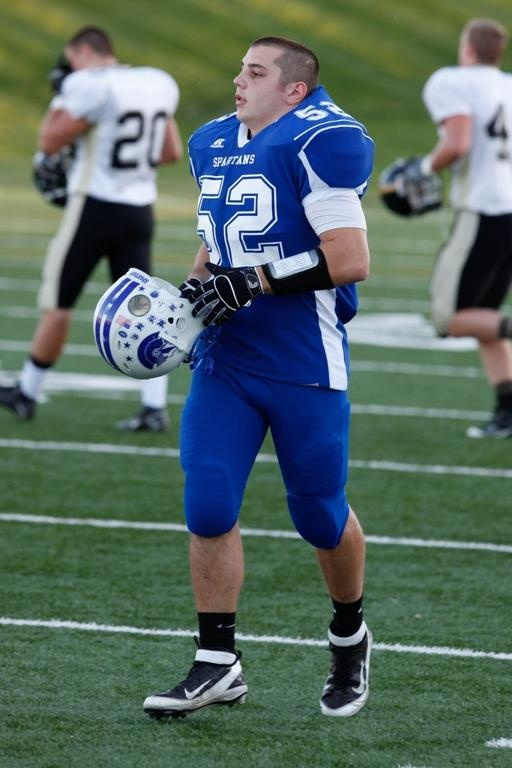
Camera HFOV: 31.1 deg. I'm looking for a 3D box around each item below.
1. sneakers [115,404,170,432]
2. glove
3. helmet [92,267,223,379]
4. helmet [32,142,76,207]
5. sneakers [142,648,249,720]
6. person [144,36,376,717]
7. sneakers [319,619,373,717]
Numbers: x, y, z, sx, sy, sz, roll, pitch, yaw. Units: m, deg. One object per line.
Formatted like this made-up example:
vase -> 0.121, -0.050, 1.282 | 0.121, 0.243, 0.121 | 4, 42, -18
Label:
sneakers -> -0.620, 0.187, 5.022 | 0.227, 0.100, 0.153 | -2, 15, -14
glove -> -0.062, -0.202, 2.125 | 0.182, 0.092, 0.119 | -14, 48, 34
helmet -> -0.261, -0.146, 2.257 | 0.319, 0.201, 0.235 | -12, 0, -9
helmet -> -0.984, -1.002, 4.422 | 0.218, 0.304, 0.136 | 2, 27, 0
sneakers -> -0.125, 0.694, 2.130 | 0.298, 0.133, 0.097 | 1, -8, -35
person -> 0.058, 0.094, 2.203 | 0.545, 1.717, 0.945 | 3, 27, 1
sneakers -> 0.214, 0.711, 2.271 | 0.080, 0.081, 0.204 | -1, 44, 23
